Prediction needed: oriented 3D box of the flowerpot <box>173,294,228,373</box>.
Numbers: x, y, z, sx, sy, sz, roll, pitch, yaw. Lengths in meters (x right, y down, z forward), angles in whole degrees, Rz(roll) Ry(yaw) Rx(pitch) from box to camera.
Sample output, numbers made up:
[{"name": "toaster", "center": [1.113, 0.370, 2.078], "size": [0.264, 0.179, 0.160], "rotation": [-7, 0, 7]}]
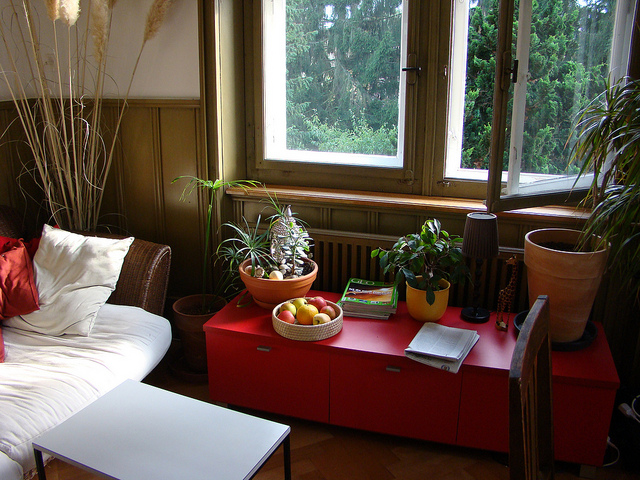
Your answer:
[{"name": "flowerpot", "center": [-0.700, 0.548, 2.887], "size": [0.360, 0.463, 0.400], "rotation": [0, 16, -1]}]

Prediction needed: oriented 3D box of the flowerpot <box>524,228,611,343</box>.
[{"name": "flowerpot", "center": [1.166, 0.184, 2.286], "size": [0.368, 0.656, 0.363], "rotation": [8, 18, 23]}]

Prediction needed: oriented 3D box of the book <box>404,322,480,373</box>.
[{"name": "book", "center": [0.560, 0.461, 2.136], "size": [0.277, 0.336, 0.065], "rotation": [-2, 17, 20]}]

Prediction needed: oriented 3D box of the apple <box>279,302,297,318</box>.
[{"name": "apple", "center": [-0.165, 0.343, 2.317], "size": [0.063, 0.074, 0.070], "rotation": [-2, 9, -1]}]

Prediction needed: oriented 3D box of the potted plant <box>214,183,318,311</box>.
[{"name": "potted plant", "center": [-0.284, 0.096, 2.539], "size": [0.479, 0.601, 0.471], "rotation": [-3, 15, -11]}]

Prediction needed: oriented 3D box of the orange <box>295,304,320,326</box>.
[{"name": "orange", "center": [-0.068, 0.362, 2.251], "size": [0.079, 0.090, 0.088], "rotation": [4, 3, 4]}]

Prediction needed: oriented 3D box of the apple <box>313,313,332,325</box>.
[{"name": "apple", "center": [0.017, 0.379, 2.265], "size": [0.057, 0.057, 0.067], "rotation": [54, 20, 19]}]

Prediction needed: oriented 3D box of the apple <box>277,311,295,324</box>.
[{"name": "apple", "center": [-0.154, 0.368, 2.264], "size": [0.056, 0.062, 0.058], "rotation": [19, 23, 40]}]

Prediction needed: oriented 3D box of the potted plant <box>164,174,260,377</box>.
[{"name": "potted plant", "center": [-0.639, 0.201, 2.771], "size": [0.606, 1.223, 0.512], "rotation": [9, 9, 12]}]

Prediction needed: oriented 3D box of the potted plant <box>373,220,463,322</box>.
[{"name": "potted plant", "center": [0.498, 0.108, 2.474], "size": [0.446, 0.555, 0.504], "rotation": [0, 15, 5]}]
